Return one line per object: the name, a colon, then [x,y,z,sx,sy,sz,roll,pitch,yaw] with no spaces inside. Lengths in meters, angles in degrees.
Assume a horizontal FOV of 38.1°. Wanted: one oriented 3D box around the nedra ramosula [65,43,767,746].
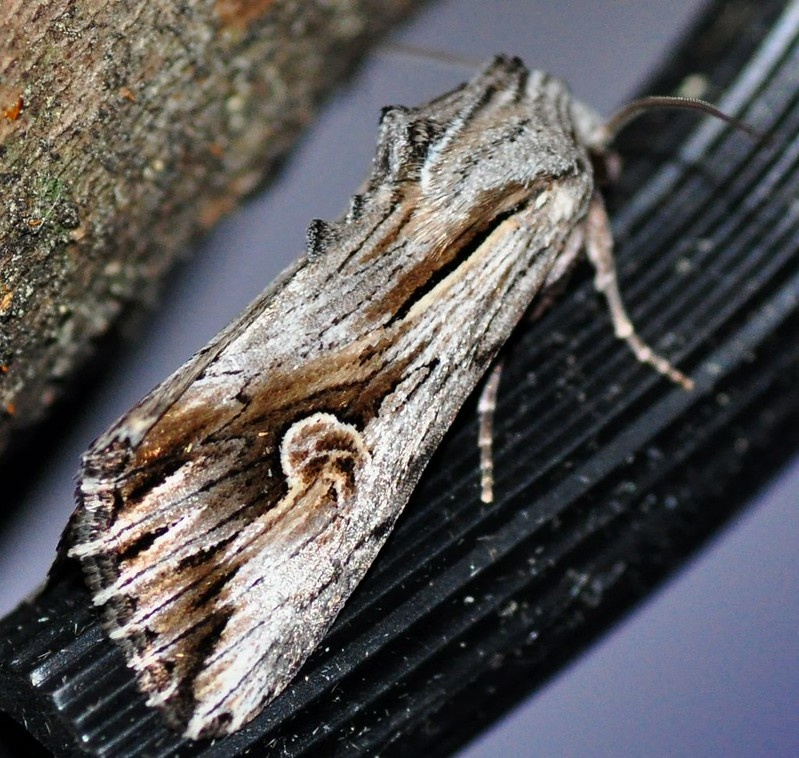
nedra ramosula: [-0.024,0.027,1.520,0.903,0.504,0.337,-43,-16,-16]
